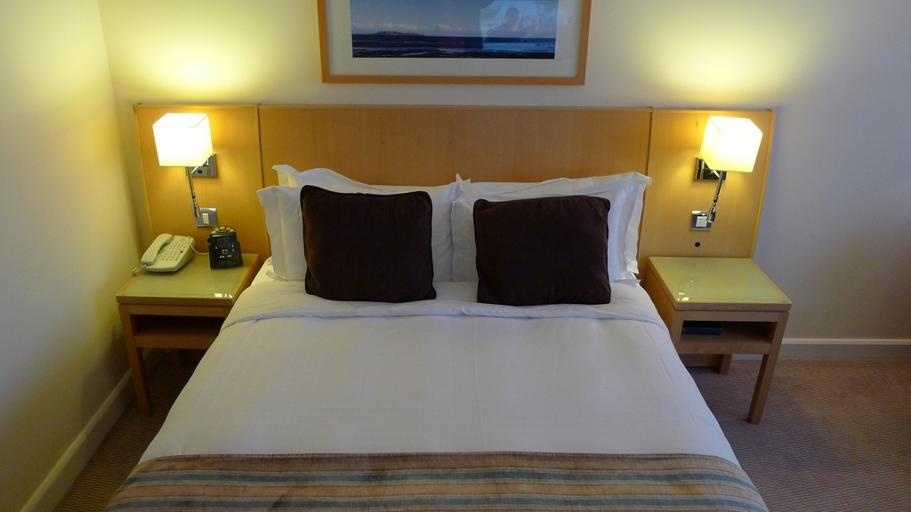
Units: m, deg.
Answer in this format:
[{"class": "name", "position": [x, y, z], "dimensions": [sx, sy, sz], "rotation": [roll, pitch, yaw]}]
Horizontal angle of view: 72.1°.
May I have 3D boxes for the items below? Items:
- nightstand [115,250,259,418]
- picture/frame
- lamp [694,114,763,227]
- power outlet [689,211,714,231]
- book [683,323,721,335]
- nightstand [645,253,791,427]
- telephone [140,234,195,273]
[{"class": "nightstand", "position": [-1.900, 0.544, 4.662], "dimensions": [0.929, 0.753, 0.882], "rotation": [-4, 18, -14]}, {"class": "picture/frame", "position": [-0.016, -1.499, 4.390], "dimensions": [1.896, 0.585, 0.112], "rotation": [1, 23, 0]}, {"class": "lamp", "position": [1.882, -0.524, 4.493], "dimensions": [0.373, 0.798, 0.311], "rotation": [-1, 24, -23]}, {"class": "power outlet", "position": [1.798, -0.268, 4.612], "dimensions": [0.126, 0.110, 0.062], "rotation": [1, 32, 2]}, {"class": "book", "position": [1.715, 0.508, 4.385], "dimensions": [0.144, 0.032, 0.130], "rotation": [-1, 16, -1]}, {"class": "nightstand", "position": [1.853, 0.618, 4.700], "dimensions": [0.861, 0.985, 0.709], "rotation": [1, 25, -4]}, {"class": "telephone", "position": [-2.071, -0.033, 4.532], "dimensions": [0.332, 0.139, 0.379], "rotation": [-4, 30, -3]}]
